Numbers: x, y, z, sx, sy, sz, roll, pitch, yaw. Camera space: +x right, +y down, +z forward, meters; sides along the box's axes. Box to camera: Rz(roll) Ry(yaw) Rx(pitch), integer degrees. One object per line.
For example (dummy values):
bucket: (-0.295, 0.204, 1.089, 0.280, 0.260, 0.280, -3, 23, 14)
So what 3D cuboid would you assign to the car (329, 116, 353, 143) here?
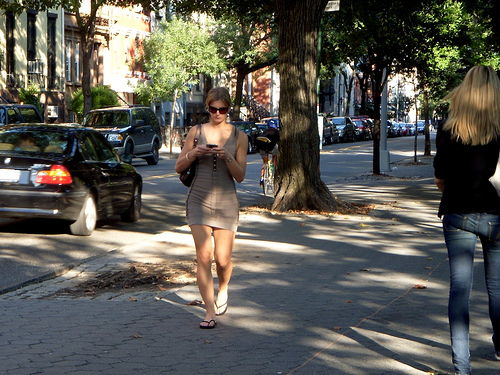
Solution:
car: (8.394, -5.415, 50.690, 1.691, 1.366, 2.750, 0, 2, 15)

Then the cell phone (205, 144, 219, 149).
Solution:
cell phone: (-0.332, -0.354, 4.881, 0.114, 0.036, 0.058, -1, 9, -5)

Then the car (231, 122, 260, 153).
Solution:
car: (0.112, -3.090, 33.104, 1.605, 1.559, 3.350, 0, 2, 13)

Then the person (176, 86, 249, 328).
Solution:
person: (-0.347, 0.171, 5.386, 0.640, 2.236, 1.199, 0, 9, -1)

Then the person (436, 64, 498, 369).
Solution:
person: (1.470, 0.198, 3.845, 0.443, 2.047, 0.610, 6, 10, 33)

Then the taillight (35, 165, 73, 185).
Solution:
taillight: (-3.213, -0.200, 9.143, 0.469, 0.275, 0.281, 0, 3, -4)
